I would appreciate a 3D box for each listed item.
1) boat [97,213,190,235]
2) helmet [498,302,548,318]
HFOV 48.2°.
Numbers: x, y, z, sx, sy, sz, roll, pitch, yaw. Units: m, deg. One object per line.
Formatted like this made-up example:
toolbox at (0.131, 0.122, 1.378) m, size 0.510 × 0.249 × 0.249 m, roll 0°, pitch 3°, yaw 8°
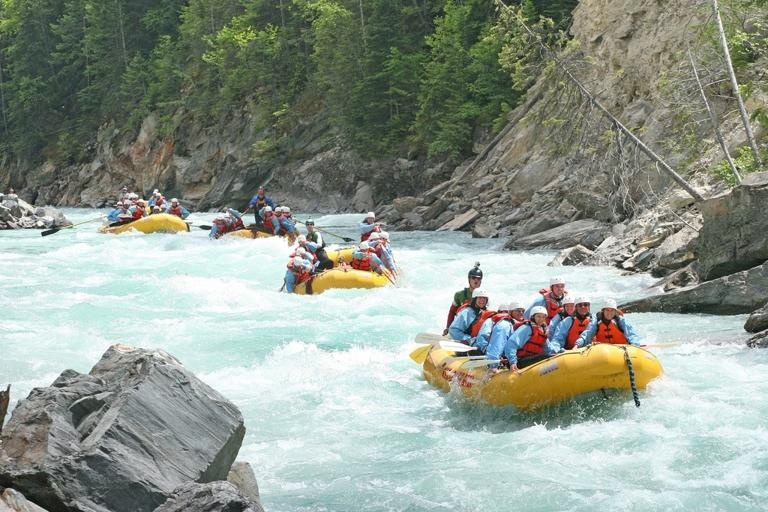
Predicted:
boat at (-9.650, -1.235, 35.049) m, size 2.440 × 0.449 × 1.326 m, roll -3°, pitch 4°, yaw 10°
helmet at (2.834, 1.085, 17.343) m, size 0.682 × 0.235 × 0.412 m, roll 11°, pitch -3°, yaw 12°
